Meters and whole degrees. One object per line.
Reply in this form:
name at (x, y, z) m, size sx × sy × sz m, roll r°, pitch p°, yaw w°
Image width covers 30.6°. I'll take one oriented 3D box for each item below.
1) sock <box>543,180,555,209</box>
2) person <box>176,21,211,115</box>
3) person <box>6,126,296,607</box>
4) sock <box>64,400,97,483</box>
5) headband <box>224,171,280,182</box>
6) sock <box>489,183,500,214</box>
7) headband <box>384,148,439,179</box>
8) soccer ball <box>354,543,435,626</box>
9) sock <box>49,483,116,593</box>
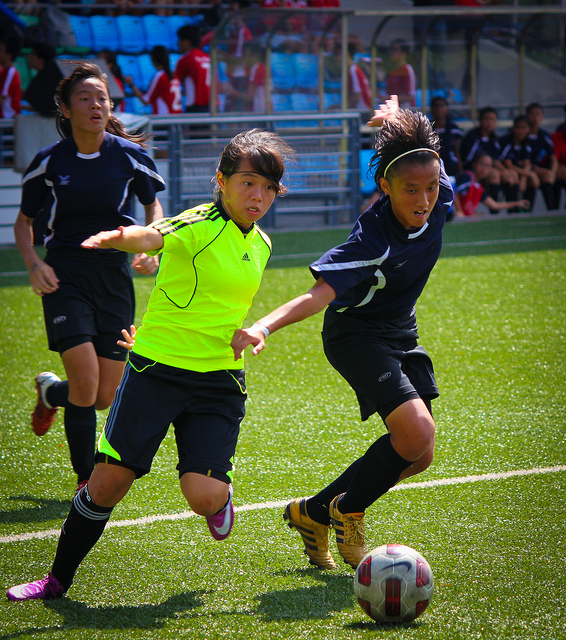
sock at (3.202, -1.532, 12.573) m, size 0.119 × 0.357 × 0.268 m, roll 14°, pitch 16°, yaw 30°
person at (-0.995, -2.772, 11.459) m, size 0.418 × 0.928 × 0.310 m, roll 5°, pitch 14°, yaw -1°
person at (-0.386, 0.175, 3.828) m, size 0.532 × 1.742 × 0.842 m, roll 14°, pitch 16°, yaw 29°
sock at (-0.918, 0.552, 4.648) m, size 0.143 × 0.397 × 0.216 m, roll 3°, pitch 14°, yaw -10°
headband at (-0.112, -0.535, 3.806) m, size 0.187 × 0.031 × 0.055 m, roll 2°, pitch 12°, yaw -9°
sock at (2.468, -1.447, 12.241) m, size 0.163 × 0.370 × 0.091 m, roll 0°, pitch 16°, yaw -21°
headband at (0.492, -0.610, 4.009) m, size 0.201 × 0.124 × 0.085 m, roll 5°, pitch 14°, yaw 5°
soccer ball at (0.375, 0.924, 3.615) m, size 0.332 × 0.287 × 0.265 m, roll 2°, pitch -15°, yaw -1°
sock at (-0.742, 0.819, 3.778) m, size 0.188 × 0.455 × 0.116 m, roll 12°, pitch 16°, yaw 24°
